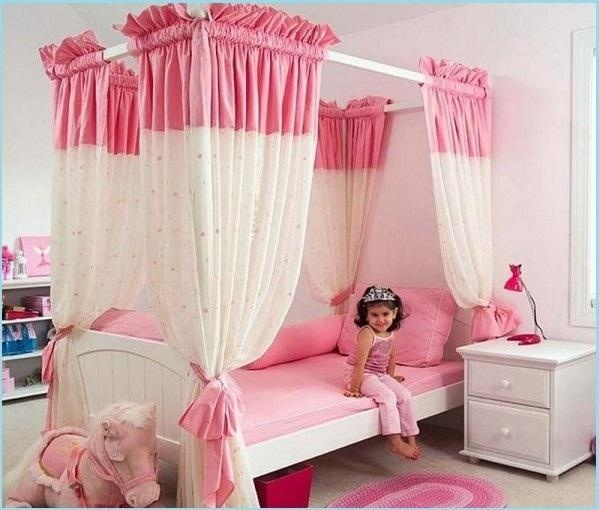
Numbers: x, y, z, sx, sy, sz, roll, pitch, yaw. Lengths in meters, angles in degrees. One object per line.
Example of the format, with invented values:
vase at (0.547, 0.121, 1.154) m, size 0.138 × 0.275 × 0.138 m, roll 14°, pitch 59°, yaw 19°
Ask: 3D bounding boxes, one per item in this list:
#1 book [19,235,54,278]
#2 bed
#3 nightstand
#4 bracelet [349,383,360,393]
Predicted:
book at (-2.407, 0.020, 4.341) m, size 0.053 × 0.424 × 0.353 m, roll -5°, pitch 0°, yaw 37°
bed at (-0.380, -0.118, 3.388) m, size 1.879 × 2.833 × 2.397 m, roll 3°, pitch 3°, yaw 45°
nightstand at (1.391, 0.794, 3.079) m, size 0.671 × 0.833 × 0.758 m, roll -1°, pitch 1°, yaw -44°
bracelet at (0.299, 0.717, 2.606) m, size 0.039 × 0.046 × 0.047 m, roll 0°, pitch 7°, yaw -13°
